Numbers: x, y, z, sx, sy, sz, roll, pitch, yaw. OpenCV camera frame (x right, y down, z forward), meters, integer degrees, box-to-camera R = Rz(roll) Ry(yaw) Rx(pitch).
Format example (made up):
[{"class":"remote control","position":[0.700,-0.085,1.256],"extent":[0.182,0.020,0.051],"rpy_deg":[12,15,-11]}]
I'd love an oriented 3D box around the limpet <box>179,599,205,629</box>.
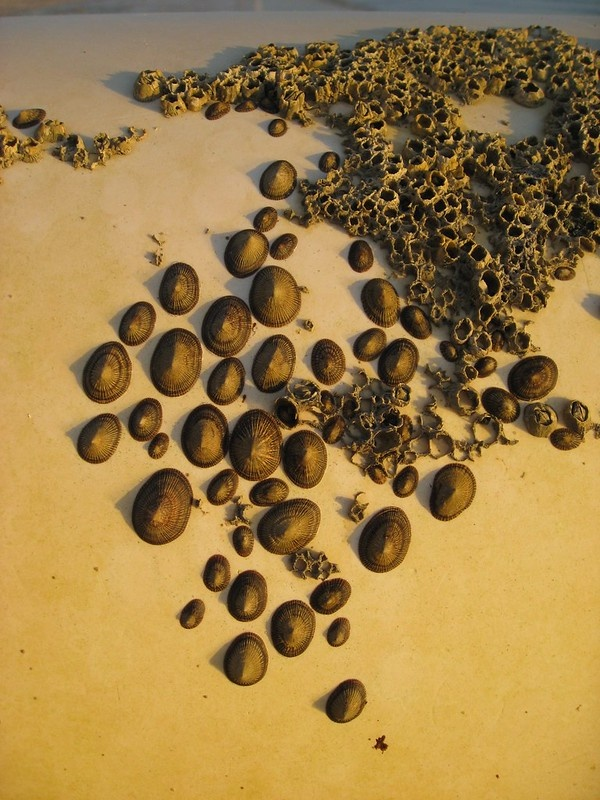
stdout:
[{"class":"limpet","position":[-1.528,3.026,12.144],"extent":[0.401,0.277,0.282],"rpy_deg":[-32,53,-28]}]

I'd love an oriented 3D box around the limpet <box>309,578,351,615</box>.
[{"class":"limpet","position":[0.428,2.793,12.255],"extent":[0.600,0.337,0.384],"rpy_deg":[-25,50,-24]}]
